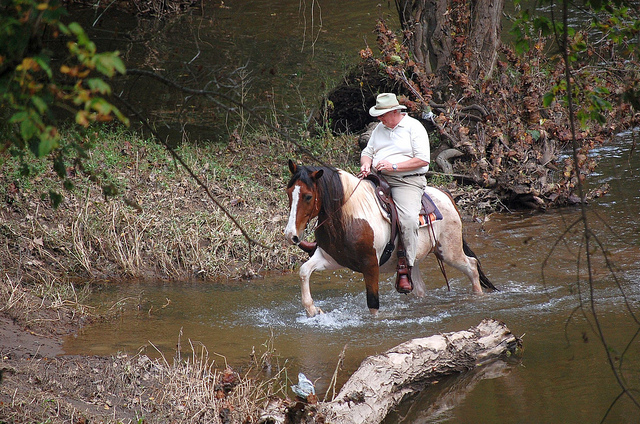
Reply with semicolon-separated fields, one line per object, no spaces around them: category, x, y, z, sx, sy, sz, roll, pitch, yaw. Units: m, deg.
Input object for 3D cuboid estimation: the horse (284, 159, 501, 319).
horse;1.365;0.488;12.744;4.814;2.703;1.087;-4;3;-36
